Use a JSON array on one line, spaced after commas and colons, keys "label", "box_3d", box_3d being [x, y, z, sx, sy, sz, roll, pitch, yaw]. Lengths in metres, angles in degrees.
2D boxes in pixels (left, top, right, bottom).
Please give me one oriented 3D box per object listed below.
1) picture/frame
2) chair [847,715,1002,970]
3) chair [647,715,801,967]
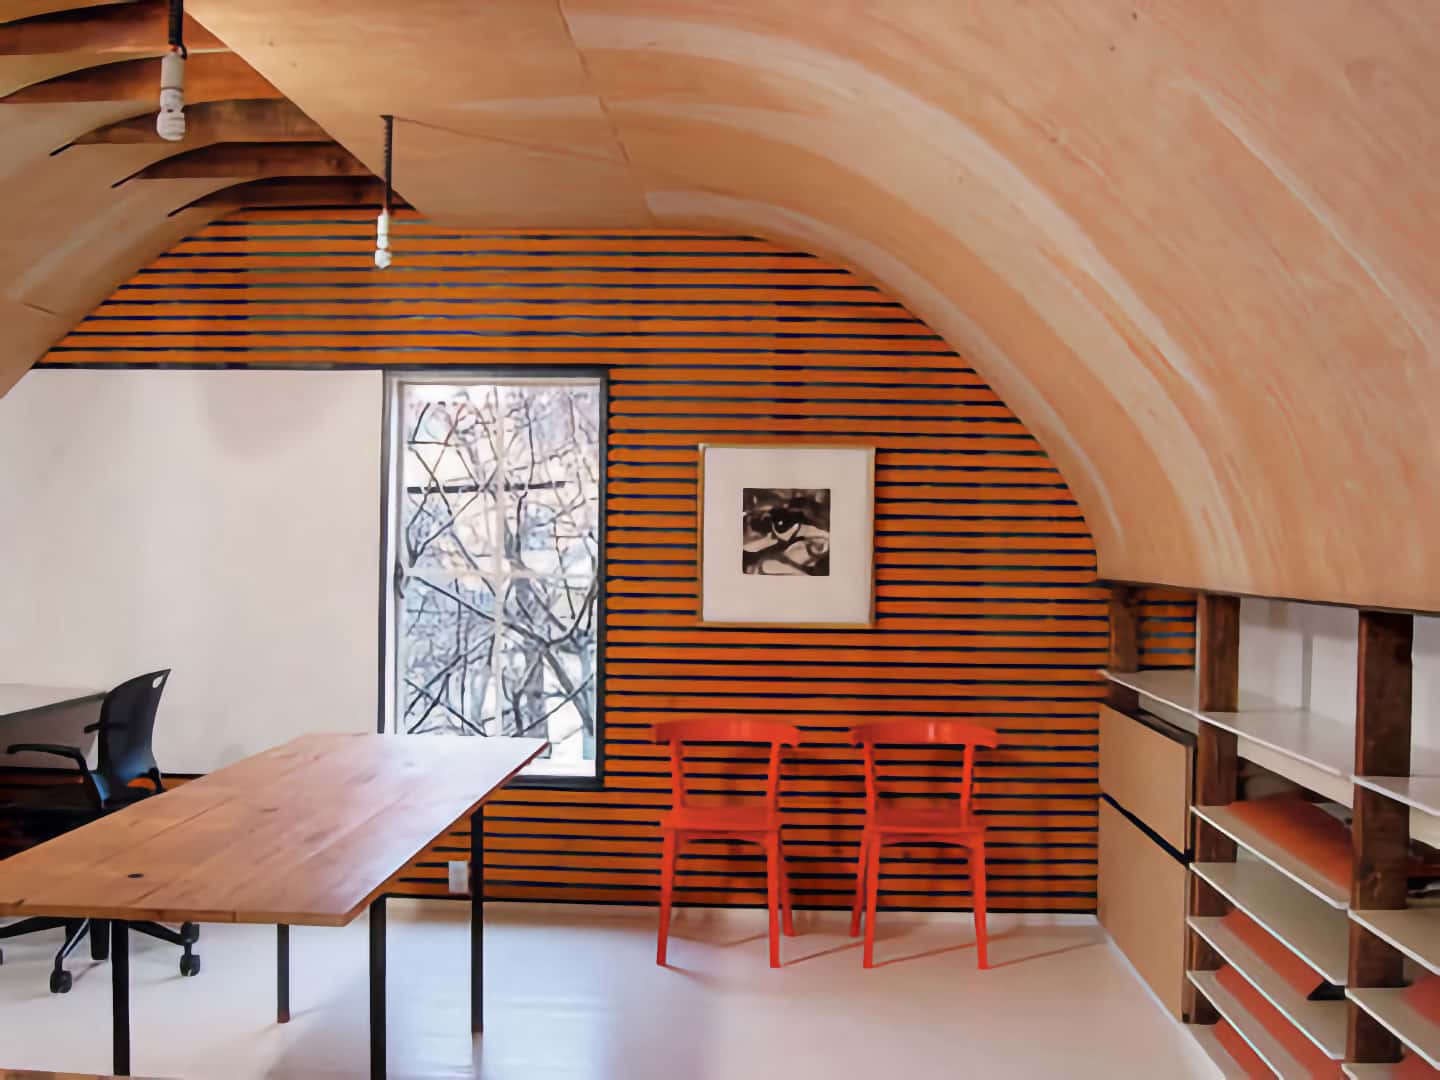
[{"label": "picture/frame", "box_3d": [0.370, -0.055, 7.361, 1.088, 1.024, 0.044, 0, -2, 0]}, {"label": "chair", "box_3d": [1.044, 1.535, 7.041, 0.744, 1.168, 0.952, 3, 11, 11]}, {"label": "chair", "box_3d": [0.017, 1.516, 7.050, 0.772, 1.147, 0.862, 1, 11, 3]}]
